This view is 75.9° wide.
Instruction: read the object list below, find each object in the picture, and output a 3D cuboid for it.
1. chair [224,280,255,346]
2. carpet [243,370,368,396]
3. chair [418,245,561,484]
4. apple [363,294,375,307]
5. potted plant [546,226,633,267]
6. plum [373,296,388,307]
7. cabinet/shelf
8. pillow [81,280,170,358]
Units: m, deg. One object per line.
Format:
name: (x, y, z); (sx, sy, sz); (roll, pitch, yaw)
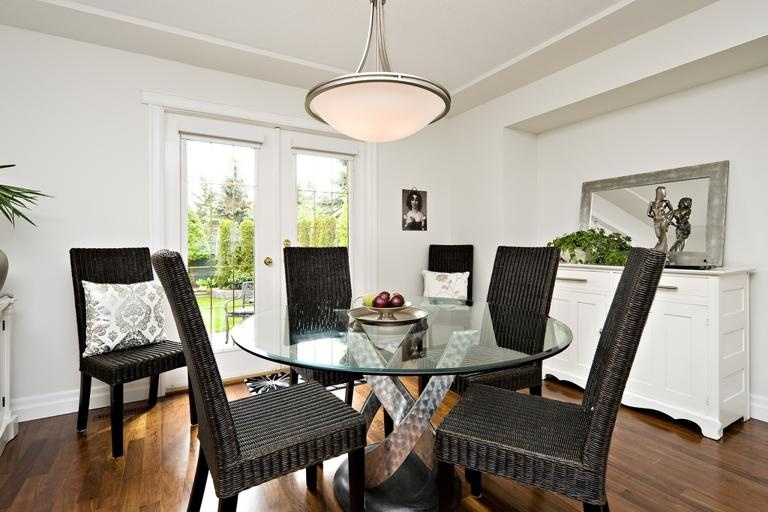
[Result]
chair: (-1.370, 0.488, 4.771); (0.244, 0.425, 0.267); (-1, 7, 30)
carpet: (-0.592, 0.986, 3.794); (0.588, 0.016, 0.527); (1, 0, -28)
chair: (0.749, 0.643, 3.658); (0.989, 1.392, 0.743); (-5, 4, -25)
apple: (-0.099, 0.304, 3.416); (0.077, 0.095, 0.079); (-3, 2, 4)
potted plant: (2.084, -0.079, 4.784); (0.682, 0.336, 0.776); (8, 1, 34)
plum: (-0.026, 0.304, 3.340); (0.079, 0.084, 0.083); (0, 3, -28)
cabinet/shelf: (2.245, 0.666, 4.512); (0.693, 1.308, 1.723); (-11, 10, -36)
pillow: (-2.055, 0.505, 3.849); (0.560, 0.560, 0.204); (5, -15, -40)
